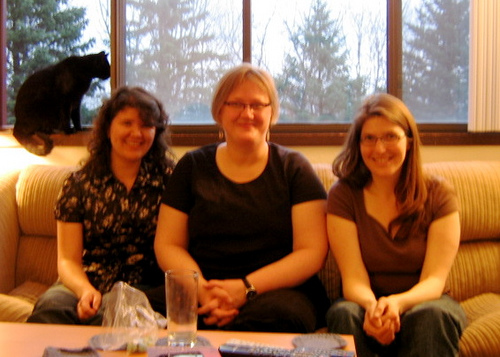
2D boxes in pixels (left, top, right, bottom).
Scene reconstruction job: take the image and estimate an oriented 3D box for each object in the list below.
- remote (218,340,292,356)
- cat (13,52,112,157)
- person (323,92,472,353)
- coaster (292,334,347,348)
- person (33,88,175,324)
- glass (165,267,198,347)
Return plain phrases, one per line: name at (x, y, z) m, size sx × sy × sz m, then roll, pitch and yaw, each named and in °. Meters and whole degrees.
remote at (0.014, 0.580, 1.559) m, size 0.149 × 0.022 × 0.084 m, roll 3°, pitch -4°, yaw 4°
cat at (-1.388, -0.547, 3.344) m, size 0.852 × 0.573 × 0.293 m, roll -5°, pitch -3°, yaw 20°
person at (0.671, 0.172, 2.124) m, size 0.646 × 1.153 × 0.568 m, roll -1°, pitch 5°, yaw 9°
coaster at (0.246, 0.576, 1.621) m, size 0.073 × 0.019 × 0.072 m, roll 2°, pitch -4°, yaw -43°
person at (-0.741, 0.064, 2.296) m, size 0.501 × 1.067 × 0.910 m, roll 0°, pitch 5°, yaw 17°
glass at (-0.238, 0.457, 1.595) m, size 0.109 × 0.259 × 0.046 m, roll -2°, pitch 5°, yaw -11°
